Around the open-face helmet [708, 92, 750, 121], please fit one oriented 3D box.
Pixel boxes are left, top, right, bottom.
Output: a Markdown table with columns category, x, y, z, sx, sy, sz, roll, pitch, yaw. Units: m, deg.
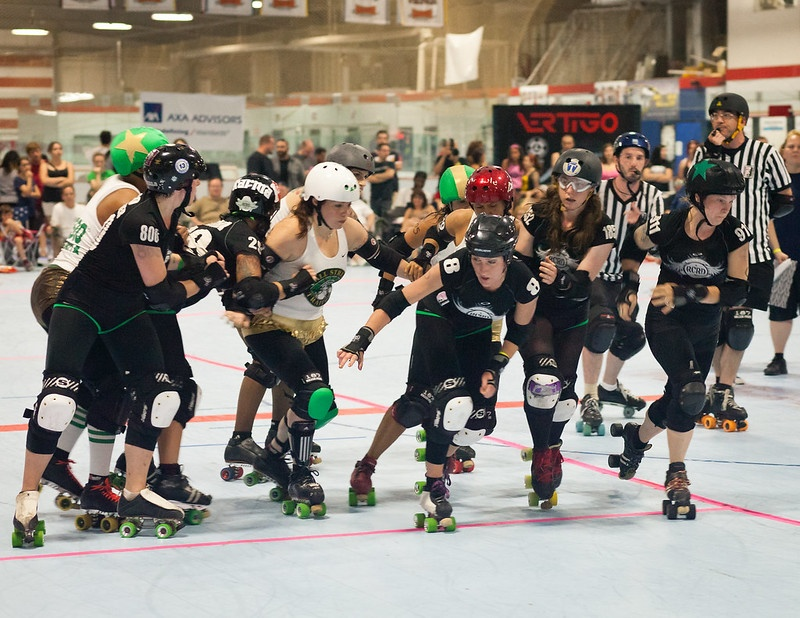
| category | x | y | z | sx | sy | sz | roll | pitch | yaw |
| --- | --- | --- | --- | --- | --- | --- | --- | --- | --- |
| open-face helmet | 2.651 | -1.640 | 8.341 | 0.245 | 0.199 | 0.285 | 3 | -11 | 15 |

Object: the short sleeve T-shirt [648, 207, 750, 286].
| category | x | y | z | sx | sy | sz | roll | pitch | yaw |
| --- | --- | --- | --- | --- | --- | --- | --- | --- | --- |
| short sleeve T-shirt | 1.902 | -0.391 | 6.588 | 0.712 | 0.564 | 0.357 | 5 | 6 | -3 |

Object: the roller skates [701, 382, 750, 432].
| category | x | y | z | sx | sy | sz | roll | pitch | yaw |
| --- | --- | --- | --- | --- | --- | --- | --- | --- | --- |
| roller skates | 2.647 | 0.811 | 8.419 | 0.198 | 0.337 | 0.523 | 7 | -1 | -24 |

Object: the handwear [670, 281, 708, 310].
| category | x | y | z | sx | sy | sz | roll | pitch | yaw |
| --- | --- | --- | --- | --- | --- | --- | --- | --- | --- |
| handwear | 1.800 | -0.088 | 6.475 | 0.215 | 0.114 | 0.069 | -6 | -38 | 6 |

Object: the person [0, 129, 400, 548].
| category | x | y | z | sx | sy | sz | roll | pitch | yaw |
| --- | --- | --- | --- | --- | --- | --- | --- | --- | --- |
| person | -1.622 | 0.147 | 5.982 | 1.377 | 2.304 | 0.744 | -8 | 14 | -39 |

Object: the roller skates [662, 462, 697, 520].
| category | x | y | z | sx | sy | sz | roll | pitch | yaw |
| --- | --- | --- | --- | --- | --- | --- | --- | --- | --- |
| roller skates | 1.760 | 1.141 | 6.512 | 0.180 | 0.332 | 0.456 | 1 | -3 | 11 |
